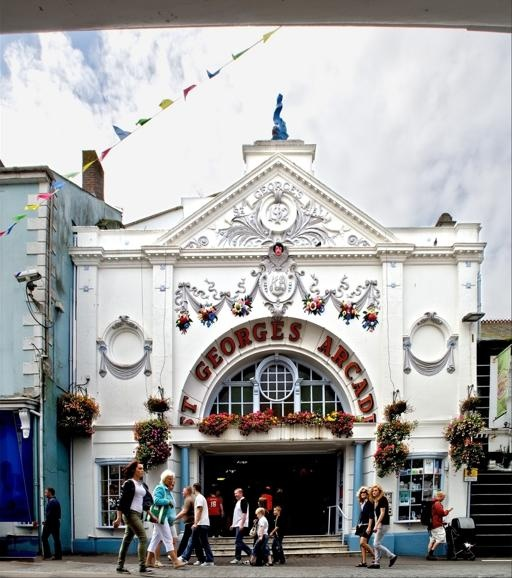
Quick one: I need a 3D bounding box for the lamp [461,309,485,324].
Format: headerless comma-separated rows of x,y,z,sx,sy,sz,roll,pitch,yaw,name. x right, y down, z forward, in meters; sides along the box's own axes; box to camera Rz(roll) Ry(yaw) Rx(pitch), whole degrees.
6.062,0.733,48.287,0.567,0.204,0.597,3,-28,-5,lamp

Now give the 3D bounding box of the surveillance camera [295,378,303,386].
1.385,2.704,51.259,0.164,0.254,0.167,2,30,-5,surveillance camera

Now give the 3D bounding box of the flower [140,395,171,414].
-2.668,3.290,49.460,0.701,0.519,0.709,1,-8,-1,flower

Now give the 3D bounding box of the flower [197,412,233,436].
-1.101,3.817,49.459,0.681,0.293,0.697,12,38,34,flower

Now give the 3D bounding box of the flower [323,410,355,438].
2.513,3.806,49.459,0.715,0.442,0.708,1,6,-23,flower

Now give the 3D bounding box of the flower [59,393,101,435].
-4.847,3.587,49.129,1.033,1.197,1.130,4,7,9,flower

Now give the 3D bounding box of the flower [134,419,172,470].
-2.779,4.368,49.205,0.972,1.382,0.625,-6,-5,7,flower

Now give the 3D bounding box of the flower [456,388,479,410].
6.148,3.035,49.490,0.492,0.811,0.626,3,-47,3,flower

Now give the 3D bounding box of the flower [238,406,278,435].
0.167,3.800,49.565,1.095,0.720,0.552,1,-8,-3,flower

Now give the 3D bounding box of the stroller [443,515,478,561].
5.601,6.572,46.473,0.676,1.066,0.705,2,-3,43,stroller

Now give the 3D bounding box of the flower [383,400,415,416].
4.075,3.377,49.379,0.470,0.283,0.477,-15,0,32,flower

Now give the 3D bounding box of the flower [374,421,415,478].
4.030,4.437,49.224,1.015,1.561,0.740,-2,-24,20,flower
